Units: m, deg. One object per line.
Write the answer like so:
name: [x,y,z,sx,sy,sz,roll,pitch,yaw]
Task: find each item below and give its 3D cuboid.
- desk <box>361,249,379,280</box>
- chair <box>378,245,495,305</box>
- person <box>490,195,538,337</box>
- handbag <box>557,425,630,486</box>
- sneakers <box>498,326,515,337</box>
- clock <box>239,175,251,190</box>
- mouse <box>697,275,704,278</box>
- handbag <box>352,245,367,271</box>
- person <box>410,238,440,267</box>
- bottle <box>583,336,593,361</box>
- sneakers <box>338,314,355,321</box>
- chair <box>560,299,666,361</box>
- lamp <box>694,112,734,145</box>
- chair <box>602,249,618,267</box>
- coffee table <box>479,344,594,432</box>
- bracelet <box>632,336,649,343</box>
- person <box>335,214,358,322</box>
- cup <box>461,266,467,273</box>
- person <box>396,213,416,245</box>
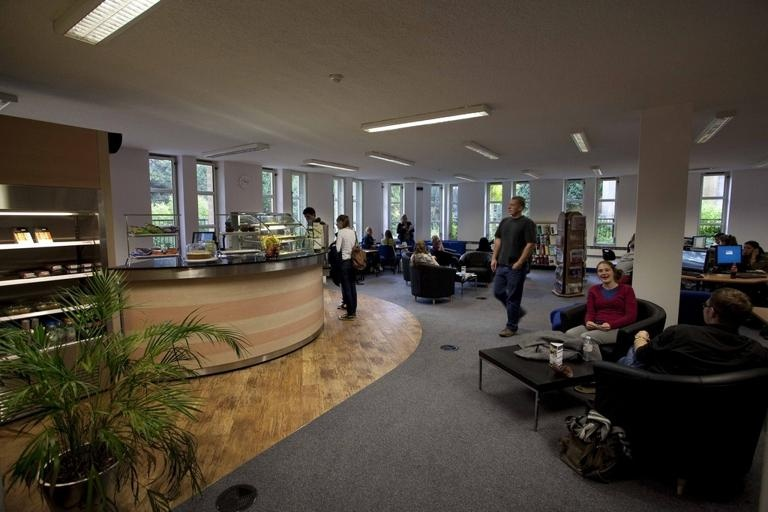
desk: [-0.227,0.172,12.771,0.601,0.720,0.816,-6,-2,7]
chair: [1.229,0.405,9.412,1.153,0.658,1.519,2,8,35]
person: [1.859,0.154,6.603,0.622,2.024,0.421,4,9,29]
handbag: [1.867,1.769,4.082,0.523,0.321,0.391,9,-6,-33]
sneakers: [1.799,1.125,6.694,0.244,0.093,0.100,2,-8,-21]
clock: [-3.416,-1.803,11.096,0.049,0.359,0.373,-6,0,32]
mouse: [4.924,0.325,7.079,0.059,0.015,0.063,-3,7,4]
handbag: [-0.424,0.028,7.404,0.218,0.379,0.204,0,8,6]
person: [0.776,-0.071,9.067,0.500,0.440,0.779,0,7,2]
bottle: [2.191,1.011,4.901,0.157,0.204,0.068,4,-29,14]
sneakers: [-0.643,1.041,7.692,0.263,0.109,0.092,4,-4,-12]
chair: [2.718,0.744,5.343,0.814,0.700,0.820,2,0,-17]
lamp: [5.216,-2.016,7.189,0.319,0.189,1.834,3,7,25]
chair: [4.534,0.022,9.164,0.201,0.248,0.648,-10,-29,27]
coffee table: [1.569,1.276,4.698,0.871,0.393,0.811,1,3,-30]
bracelet: [2.595,0.830,4.626,0.094,0.036,0.098,3,-2,-40]
person: [-0.611,0.204,7.536,0.337,1.737,0.399,0,8,6]
cup: [1.809,0.305,10.334,0.146,0.139,0.259,-4,2,0]
person: [0.670,-0.827,14.474,0.510,0.939,0.721,0,7,1]
